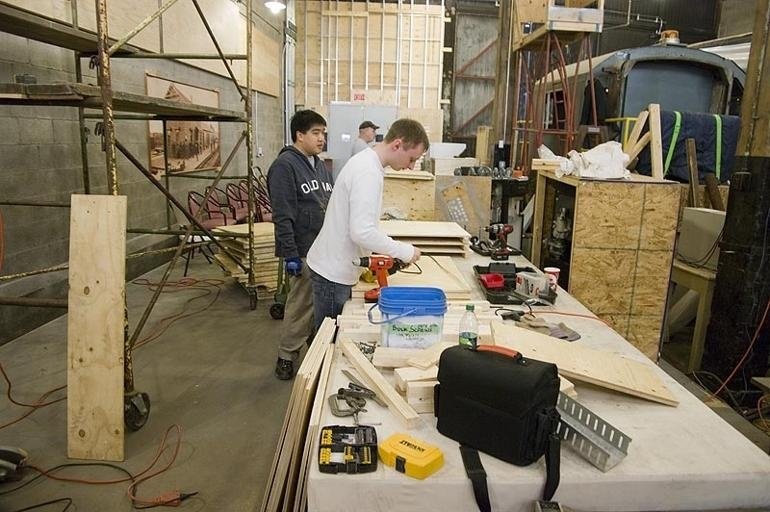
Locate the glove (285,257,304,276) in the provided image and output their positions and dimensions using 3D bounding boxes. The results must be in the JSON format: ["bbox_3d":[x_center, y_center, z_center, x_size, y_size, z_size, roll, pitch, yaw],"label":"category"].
[{"bbox_3d":[-0.815,0.084,4.939,0.149,0.166,0.085,-2,14,-11],"label":"glove"}]

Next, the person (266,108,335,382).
[{"bbox_3d":[-0.805,-0.094,5.138,0.632,2.421,0.725,3,19,3],"label":"person"}]

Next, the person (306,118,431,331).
[{"bbox_3d":[-0.177,-0.145,4.364,0.737,1.751,0.801,4,10,-8],"label":"person"}]

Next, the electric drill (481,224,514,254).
[{"bbox_3d":[1.094,-0.167,5.294,0.286,0.319,0.191,4,4,-9],"label":"electric drill"}]

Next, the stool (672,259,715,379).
[{"bbox_3d":[3.512,0.684,6.278,0.222,1.008,0.627,9,36,13],"label":"stool"}]

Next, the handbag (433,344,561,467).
[{"bbox_3d":[0.614,0.787,3.266,0.670,0.568,0.765,13,9,18],"label":"handbag"}]

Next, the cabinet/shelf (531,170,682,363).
[{"bbox_3d":[2.280,0.038,5.868,1.042,1.742,2.362,4,10,1],"label":"cabinet/shelf"}]

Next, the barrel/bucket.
[{"bbox_3d":[0.178,0.398,3.662,0.487,0.341,0.363,0,13,-1],"label":"barrel/bucket"}]

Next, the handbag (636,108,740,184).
[{"bbox_3d":[4.329,-1.503,7.576,1.156,0.965,0.375,-3,14,-16],"label":"handbag"}]
